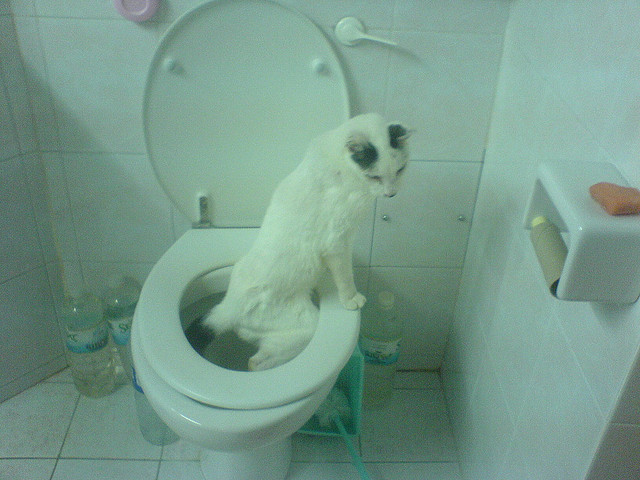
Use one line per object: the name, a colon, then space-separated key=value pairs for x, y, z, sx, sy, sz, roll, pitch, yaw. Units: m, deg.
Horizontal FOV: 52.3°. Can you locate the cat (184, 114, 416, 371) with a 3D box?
cat: x=-0.063 y=0.009 z=1.289 sx=0.435 sy=0.510 sz=0.179 roll=-7 pitch=28 yaw=-14

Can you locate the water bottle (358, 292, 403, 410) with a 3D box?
water bottle: x=0.146 y=0.273 z=1.660 sx=0.106 sy=0.329 sz=0.153 roll=1 pitch=35 yaw=-6

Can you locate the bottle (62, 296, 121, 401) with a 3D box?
bottle: x=-0.599 y=0.263 z=1.685 sx=0.109 sy=0.267 sz=0.162 roll=-13 pitch=31 yaw=-25
